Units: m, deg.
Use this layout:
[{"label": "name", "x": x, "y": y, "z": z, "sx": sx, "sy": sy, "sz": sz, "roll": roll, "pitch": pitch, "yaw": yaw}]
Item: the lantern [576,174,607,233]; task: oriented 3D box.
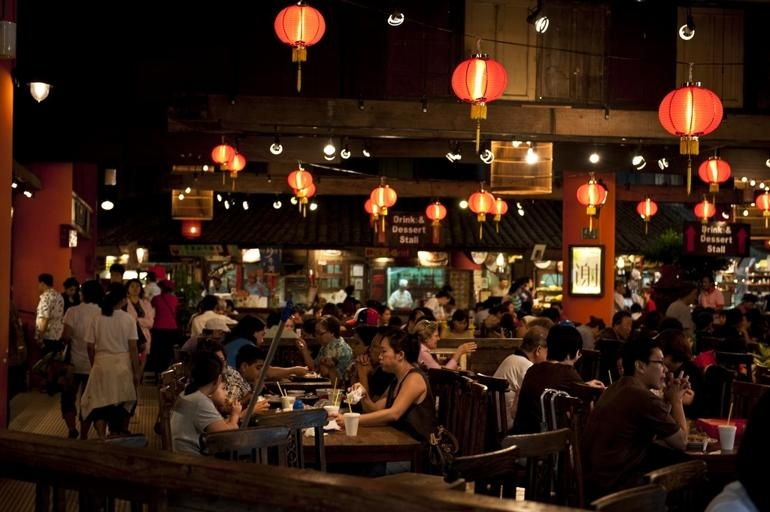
[{"label": "lantern", "x": 4.180, "y": -1.075, "z": 17.490, "sx": 0.492, "sy": 1.189, "sz": 0.504, "roll": 1, "pitch": 2, "yaw": 16}]

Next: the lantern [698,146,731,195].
[{"label": "lantern", "x": 6.243, "y": -1.493, "z": 16.331, "sx": 0.560, "sy": 0.924, "sz": 0.560, "roll": 11, "pitch": -10, "yaw": -34}]

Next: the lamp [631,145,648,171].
[{"label": "lamp", "x": 5.189, "y": -2.019, "z": 17.668, "sx": 0.393, "sy": 0.580, "sz": 0.490, "roll": -8, "pitch": -4, "yaw": 13}]

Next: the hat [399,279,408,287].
[{"label": "hat", "x": 0.525, "y": 0.795, "z": 25.392, "sx": 0.169, "sy": 0.239, "sz": 0.233, "roll": 2, "pitch": 13, "yaw": 1}]

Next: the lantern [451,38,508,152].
[{"label": "lantern", "x": 1.311, "y": -2.219, "z": 12.209, "sx": 0.695, "sy": 1.483, "sz": 0.730, "roll": 2, "pitch": 3, "yaw": 44}]

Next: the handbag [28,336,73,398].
[{"label": "handbag", "x": -5.003, "y": 1.582, "z": 12.922, "sx": 0.466, "sy": 0.847, "sz": 0.599, "roll": 11, "pitch": -12, "yaw": 39}]

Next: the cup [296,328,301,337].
[{"label": "cup", "x": -1.687, "y": 1.481, "z": 16.694, "sx": 0.105, "sy": 0.112, "sz": 0.198, "roll": 0, "pitch": -4, "yaw": -1}]

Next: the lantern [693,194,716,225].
[{"label": "lantern", "x": 7.408, "y": -1.031, "z": 19.982, "sx": 0.378, "sy": 0.688, "sz": 1.028, "roll": -3, "pitch": -8, "yaw": 24}]

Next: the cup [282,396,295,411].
[{"label": "cup", "x": -1.127, "y": 1.697, "z": 9.981, "sx": 0.146, "sy": 0.163, "sz": 0.157, "roll": 1, "pitch": 4, "yaw": 0}]

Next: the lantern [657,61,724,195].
[{"label": "lantern", "x": 4.349, "y": -1.808, "z": 12.307, "sx": 0.836, "sy": 1.901, "sz": 0.876, "roll": 2, "pitch": 2, "yaw": 22}]

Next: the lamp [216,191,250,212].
[{"label": "lamp", "x": -4.408, "y": -1.556, "z": 24.718, "sx": 0.700, "sy": 0.676, "sz": 0.687, "roll": -3, "pitch": -7, "yaw": 24}]

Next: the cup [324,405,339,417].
[{"label": "cup", "x": -0.591, "y": 1.738, "z": 9.681, "sx": 0.150, "sy": 0.149, "sz": 0.167, "roll": 4, "pitch": 6, "yaw": 45}]

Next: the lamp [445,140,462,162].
[{"label": "lamp", "x": 1.340, "y": -2.047, "z": 16.912, "sx": 0.361, "sy": 0.544, "sz": 0.194, "roll": 1, "pitch": 9, "yaw": 7}]

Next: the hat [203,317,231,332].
[{"label": "hat", "x": -2.818, "y": 1.143, "z": 14.399, "sx": 0.287, "sy": 0.167, "sz": 0.418, "roll": 1, "pitch": -3, "yaw": -5}]

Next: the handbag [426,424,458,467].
[{"label": "handbag", "x": 0.552, "y": 1.892, "z": 8.625, "sx": 0.302, "sy": 0.437, "sz": 0.169, "roll": -20, "pitch": -34, "yaw": 24}]

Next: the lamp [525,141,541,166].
[{"label": "lamp", "x": 2.899, "y": -2.085, "z": 16.967, "sx": 0.285, "sy": 0.415, "sz": 0.902, "roll": -1, "pitch": -7, "yaw": 9}]
